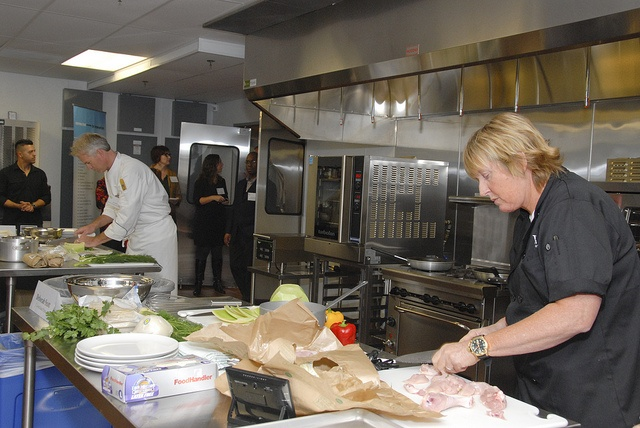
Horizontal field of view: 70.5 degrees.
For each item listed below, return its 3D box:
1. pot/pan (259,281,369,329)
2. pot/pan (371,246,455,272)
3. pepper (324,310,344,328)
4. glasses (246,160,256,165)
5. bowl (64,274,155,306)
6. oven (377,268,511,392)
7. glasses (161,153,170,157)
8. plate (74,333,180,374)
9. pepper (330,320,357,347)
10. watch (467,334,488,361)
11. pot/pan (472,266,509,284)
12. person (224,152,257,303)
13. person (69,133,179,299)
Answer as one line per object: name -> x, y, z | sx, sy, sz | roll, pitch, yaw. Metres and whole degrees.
pot/pan -> -0.045, 0.341, 1.804 | 0.367, 0.225, 0.195 | 6, -9, -39
pot/pan -> 0.738, 0.311, 3.568 | 0.481, 0.066, 0.256 | 3, 1, 39
pepper -> 0.058, 0.410, 1.763 | 0.058, 0.067, 0.055 | -4, 1, 9
glasses -> -0.920, -0.676, 6.116 | 0.084, 0.104, 0.112 | -2, -19, 8
bowl -> -0.932, 0.337, 2.022 | 0.354, 0.103, 0.239 | 0, 3, -23
oven -> 1.026, 0.896, 3.442 | 0.650, 0.806, 0.906 | 4, -3, -35
glasses -> -2.236, -0.847, 6.556 | 0.081, 0.076, 0.026 | 8, 32, -33
plate -> -0.649, 0.471, 1.534 | 0.290, 0.075, 0.254 | 4, 4, 40
pepper -> 0.083, 0.438, 1.663 | 0.084, 0.090, 0.083 | 3, -8, -42
watch -> 0.542, 0.456, 1.545 | 0.066, 0.077, 0.087 | -23, -39, 11
pot/pan -> 1.216, 0.442, 3.246 | 0.222, 0.053, 0.347 | 2, 3, 10
person -> -0.979, 0.160, 6.068 | 0.312, 1.956, 0.540 | -1, 4, -36
person -> -1.690, -0.035, 4.007 | 0.856, 1.326, 0.546 | 0, 4, -27
